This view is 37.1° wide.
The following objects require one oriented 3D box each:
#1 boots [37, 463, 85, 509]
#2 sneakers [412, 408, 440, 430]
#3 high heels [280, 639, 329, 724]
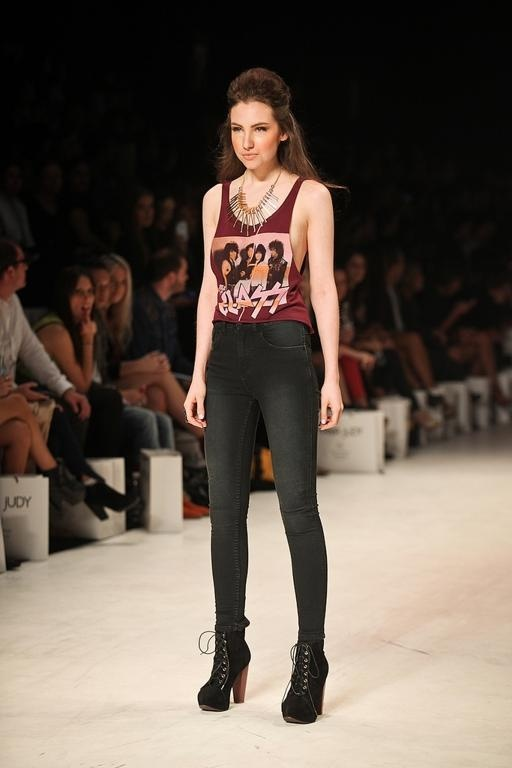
[{"bbox_3d":[-0.781,0.412,3.048,0.168,0.181,0.139,1,-4,-28],"label":"boots"},{"bbox_3d":[1.374,0.276,6.098,0.154,0.176,0.450,-3,-4,29],"label":"sneakers"},{"bbox_3d":[0.086,0.530,1.384,0.082,0.137,0.133,-1,-4,3],"label":"high heels"}]
